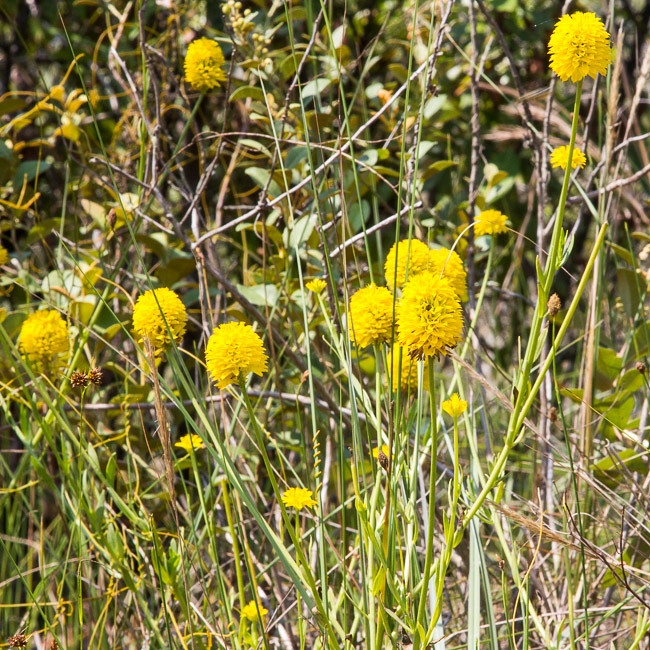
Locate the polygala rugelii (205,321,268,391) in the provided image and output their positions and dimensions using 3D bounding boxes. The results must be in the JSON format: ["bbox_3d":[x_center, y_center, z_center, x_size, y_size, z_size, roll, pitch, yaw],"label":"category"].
[{"bbox_3d":[-0.119,0.040,1.297,0.063,0.107,0.074,-13,-7,3],"label":"polygala rugelii"}]

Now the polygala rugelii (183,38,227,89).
[{"bbox_3d":[-0.196,-0.415,1.573,0.050,0.070,0.077,-4,19,11],"label":"polygala rugelii"}]

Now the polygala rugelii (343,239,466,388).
[{"bbox_3d":[0.110,-0.054,1.268,0.169,0.250,0.182,-1,21,4],"label":"polygala rugelii"}]

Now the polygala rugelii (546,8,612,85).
[{"bbox_3d":[0.338,-0.380,1.260,0.081,0.093,0.085,-17,32,-31],"label":"polygala rugelii"}]
